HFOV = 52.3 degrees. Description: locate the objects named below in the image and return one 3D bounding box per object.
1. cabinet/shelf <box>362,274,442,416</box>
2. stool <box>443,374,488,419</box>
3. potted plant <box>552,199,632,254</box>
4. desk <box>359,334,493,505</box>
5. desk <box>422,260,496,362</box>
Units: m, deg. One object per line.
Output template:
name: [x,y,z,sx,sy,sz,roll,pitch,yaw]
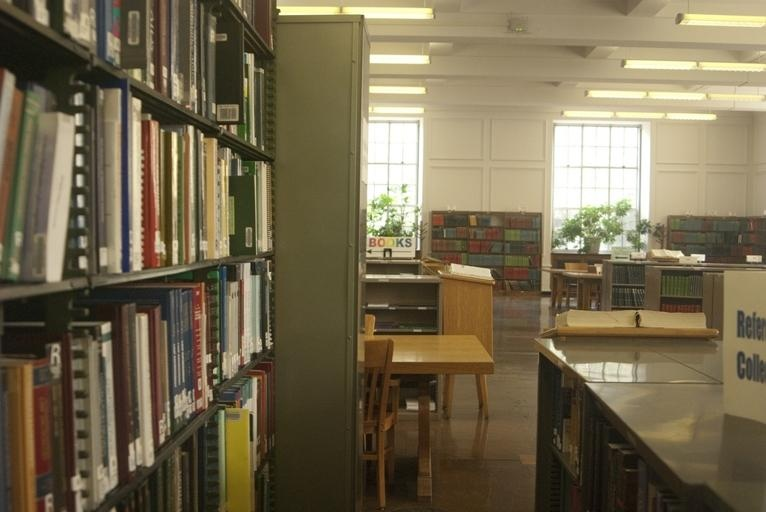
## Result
cabinet/shelf: [0.148,0.638,6.698,0.667,0.403,1.144,6,5,-3]
stool: [0.627,1.041,5.927,0.330,0.317,0.339,-1,-3,4]
potted plant: [4.304,-0.576,16.284,1.410,1.007,1.096,0,-1,0]
desk: [0.351,0.882,4.680,0.653,0.550,1.043,-1,-2,5]
desk: [0.626,0.817,6.505,0.439,0.847,1.236,4,-33,1]
